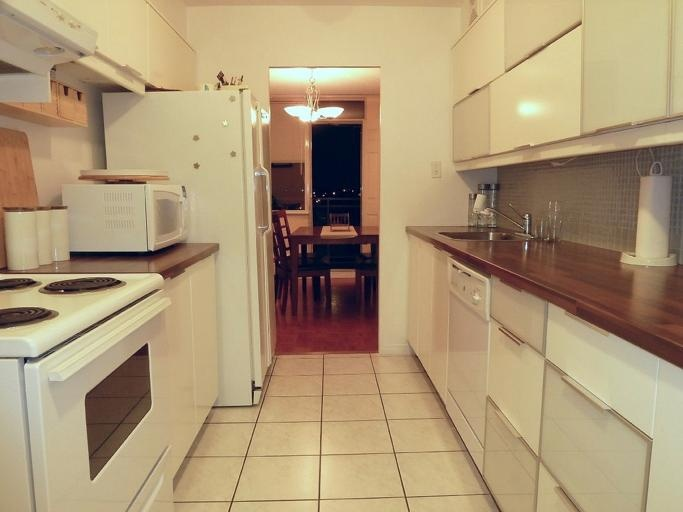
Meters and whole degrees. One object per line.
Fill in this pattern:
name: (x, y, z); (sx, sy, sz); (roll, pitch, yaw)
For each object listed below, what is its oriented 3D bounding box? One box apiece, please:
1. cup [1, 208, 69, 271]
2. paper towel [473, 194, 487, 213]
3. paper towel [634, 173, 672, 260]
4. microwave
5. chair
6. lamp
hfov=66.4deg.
cup: (-1.322, -0.088, 2.250); (0.155, 0.253, 0.270); (-1, 11, 1)
paper towel: (0.984, -0.371, 3.661); (0.090, 0.138, 0.240); (2, 12, 15)
paper towel: (1.269, -0.158, 2.086); (0.126, 0.328, 0.135); (4, 12, 22)
microwave: (-1.077, -0.175, 2.613); (0.354, 0.331, 0.504); (0, 7, -3)
chair: (-0.119, -0.039, 5.286); (1.077, 0.858, 1.100); (-2, 10, -4)
lamp: (-0.214, -1.638, 5.573); (0.638, 0.693, 0.667); (-7, 15, -24)
